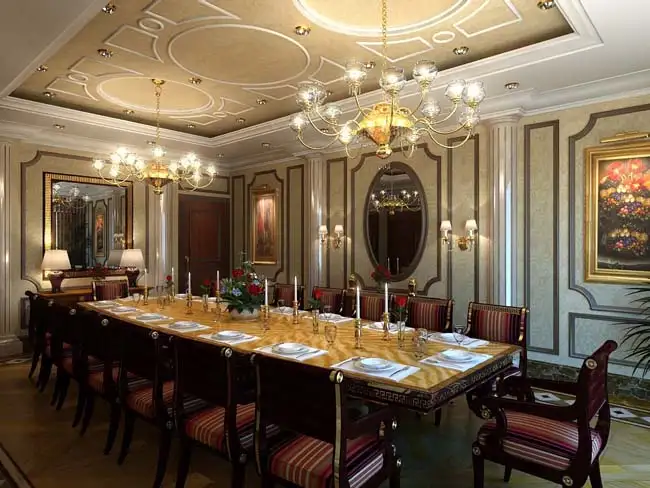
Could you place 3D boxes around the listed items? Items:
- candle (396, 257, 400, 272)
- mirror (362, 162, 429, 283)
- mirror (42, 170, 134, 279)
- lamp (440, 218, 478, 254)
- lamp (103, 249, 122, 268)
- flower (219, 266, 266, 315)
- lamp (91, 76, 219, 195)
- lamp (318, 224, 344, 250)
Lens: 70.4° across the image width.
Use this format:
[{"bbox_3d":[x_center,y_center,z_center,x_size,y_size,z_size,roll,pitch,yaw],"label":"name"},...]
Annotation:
[{"bbox_3d":[0.999,0.298,6.297,0.060,0.186,0.021,-1,-1,30],"label":"candle"},{"bbox_3d":[0.952,-0.296,6.372,0.165,1.383,0.969,-1,-1,-44],"label":"mirror"},{"bbox_3d":[-3.514,-0.262,6.715,1.657,2.098,0.092,0,0,-44],"label":"mirror"},{"bbox_3d":[1.634,-0.106,5.704,0.500,0.363,0.259,-2,-1,33],"label":"lamp"},{"bbox_3d":[-3.199,0.220,6.941,0.215,0.264,0.270,2,-1,-35],"label":"lamp"},{"bbox_3d":[-0.746,0.421,4.397,0.463,0.494,0.427,6,-13,-20],"label":"flower"},{"bbox_3d":[-2.378,-1.434,6.114,1.494,1.452,1.511,0,0,0],"label":"lamp"},{"bbox_3d":[0.087,-0.123,6.887,0.483,0.287,0.438,-2,-2,25],"label":"lamp"}]
